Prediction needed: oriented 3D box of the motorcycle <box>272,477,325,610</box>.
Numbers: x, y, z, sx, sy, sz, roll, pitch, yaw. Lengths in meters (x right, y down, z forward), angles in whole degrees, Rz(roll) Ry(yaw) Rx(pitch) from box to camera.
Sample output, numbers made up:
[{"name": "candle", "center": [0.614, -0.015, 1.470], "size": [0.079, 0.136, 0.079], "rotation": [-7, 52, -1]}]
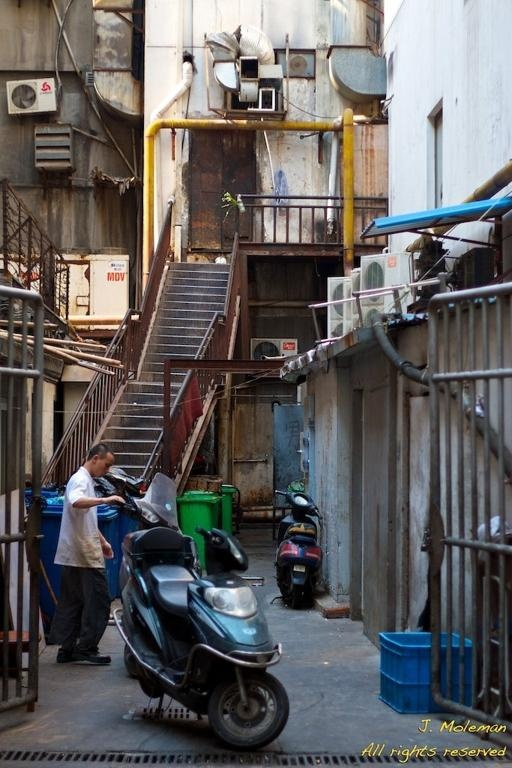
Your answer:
[{"name": "motorcycle", "center": [0.391, 1.581, 12.576], "size": [0.285, 0.799, 1.031], "rotation": [3, 3, 0]}]

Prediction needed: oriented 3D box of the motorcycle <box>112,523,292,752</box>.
[{"name": "motorcycle", "center": [-0.588, 1.574, 8.360], "size": [0.533, 1.760, 2.166], "rotation": [2, -3, -23]}]

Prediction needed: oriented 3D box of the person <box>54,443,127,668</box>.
[{"name": "person", "center": [-1.306, 1.286, 10.040], "size": [0.468, 1.794, 0.508], "rotation": [0, -1, -1]}]

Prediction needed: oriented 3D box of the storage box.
[{"name": "storage box", "center": [1.059, 1.884, 8.818], "size": [0.380, 0.403, 0.501], "rotation": [1, -3, -6]}]

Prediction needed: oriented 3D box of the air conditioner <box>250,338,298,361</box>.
[{"name": "air conditioner", "center": [0.282, -0.545, 20.983], "size": [0.750, 0.295, 0.380], "rotation": [-2, 13, -3]}]

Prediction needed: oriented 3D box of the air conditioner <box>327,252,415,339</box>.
[{"name": "air conditioner", "center": [1.127, -0.943, 13.991], "size": [0.604, 1.317, 0.847], "rotation": [-2, 4, -20]}]
